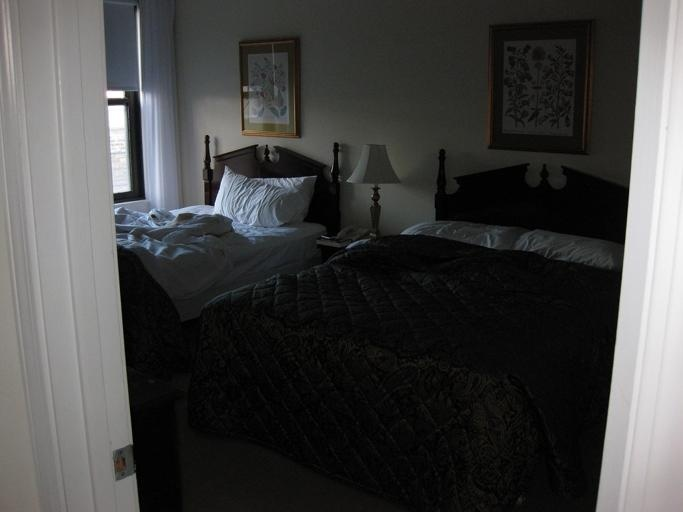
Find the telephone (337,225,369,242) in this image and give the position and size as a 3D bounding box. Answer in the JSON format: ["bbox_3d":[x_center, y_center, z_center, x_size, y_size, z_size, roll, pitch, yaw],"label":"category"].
[{"bbox_3d":[0.107,-0.211,4.759,0.177,0.065,0.183,9,17,36],"label":"telephone"}]

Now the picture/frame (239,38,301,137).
[{"bbox_3d":[-0.701,-1.724,5.246,0.848,1.101,0.045,9,18,30],"label":"picture/frame"}]
